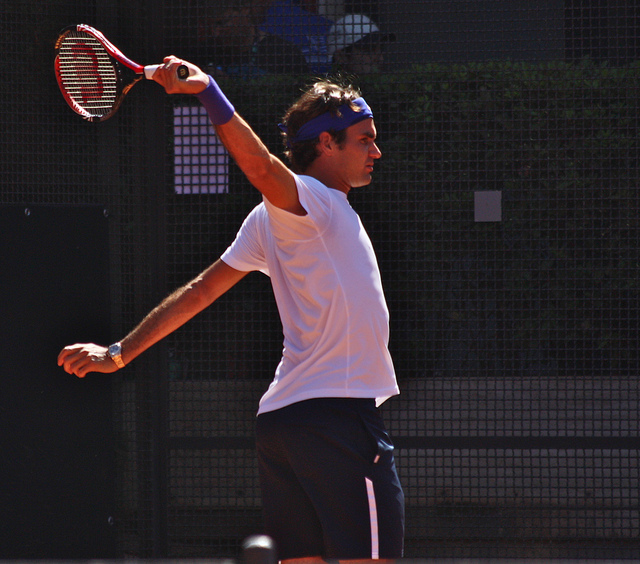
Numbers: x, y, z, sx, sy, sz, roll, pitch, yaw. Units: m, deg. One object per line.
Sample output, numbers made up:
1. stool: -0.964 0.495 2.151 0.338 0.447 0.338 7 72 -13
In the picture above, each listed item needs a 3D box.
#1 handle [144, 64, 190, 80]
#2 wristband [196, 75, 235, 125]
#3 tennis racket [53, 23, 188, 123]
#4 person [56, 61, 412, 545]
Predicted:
1. handle: -0.761 -0.980 7.360 0.293 0.090 0.077 2 3 25
2. wristband: -0.503 -0.844 7.292 0.172 0.229 0.107 5 5 35
3. tennis racket: -1.068 -1.085 8.112 0.766 0.472 0.090 -4 -5 -38
4. person: -0.214 0.111 7.711 1.237 2.254 0.748 2 4 -7
